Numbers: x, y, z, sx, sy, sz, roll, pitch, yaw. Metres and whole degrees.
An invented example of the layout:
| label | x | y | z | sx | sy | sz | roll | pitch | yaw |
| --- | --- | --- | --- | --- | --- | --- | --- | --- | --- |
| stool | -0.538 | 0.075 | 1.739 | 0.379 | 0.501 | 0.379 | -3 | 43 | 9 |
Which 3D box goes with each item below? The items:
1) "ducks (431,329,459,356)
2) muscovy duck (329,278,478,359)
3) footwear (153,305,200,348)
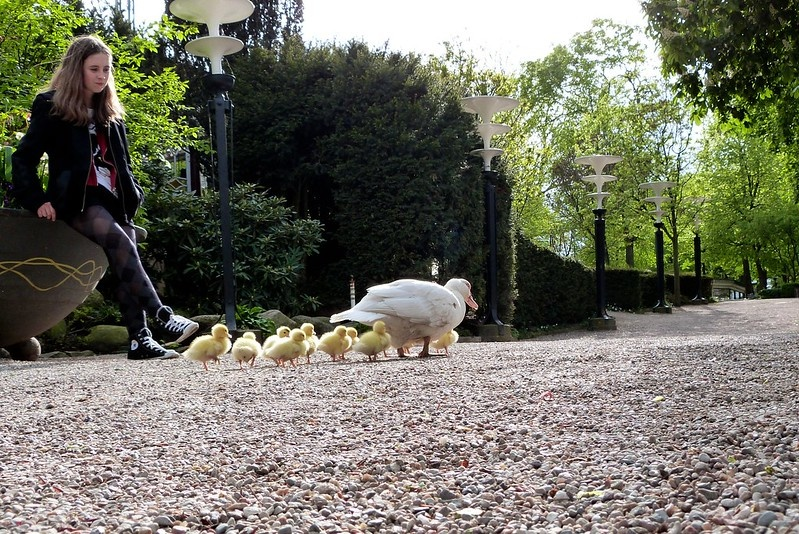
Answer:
| label | x | y | z | sx | sy | sz | roll | pitch | yaw |
| --- | --- | --- | --- | --- | --- | --- | --- | --- | --- |
| "ducks | 0.526 | 0.850 | 9.285 | 0.365 | 0.272 | 0.199 | -2 | 4 | -3 |
| muscovy duck | 0.136 | 0.484 | 8.652 | 1.885 | 1.026 | 0.722 | 11 | -21 | -35 |
| footwear | -2.053 | 0.470 | 7.245 | 0.290 | 0.237 | 0.669 | 48 | -15 | -24 |
